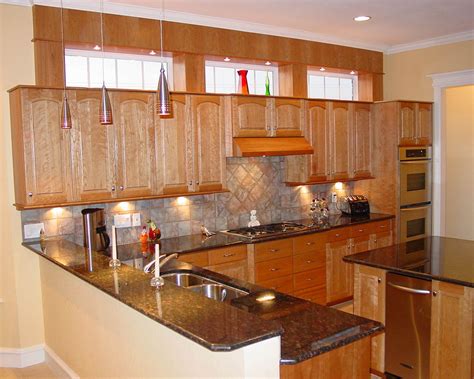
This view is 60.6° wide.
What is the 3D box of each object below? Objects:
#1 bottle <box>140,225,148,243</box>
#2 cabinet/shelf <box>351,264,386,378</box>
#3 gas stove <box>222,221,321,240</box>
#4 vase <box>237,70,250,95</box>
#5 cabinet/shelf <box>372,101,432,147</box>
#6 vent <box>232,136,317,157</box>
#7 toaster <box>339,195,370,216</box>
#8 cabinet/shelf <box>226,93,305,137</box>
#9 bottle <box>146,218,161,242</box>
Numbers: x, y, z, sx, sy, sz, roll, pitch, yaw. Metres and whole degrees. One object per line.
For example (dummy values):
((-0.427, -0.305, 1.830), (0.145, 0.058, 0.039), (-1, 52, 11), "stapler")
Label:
((-1.031, 0.495, 4.480), (0.083, 0.145, 0.139), (5, 2, -13), "bottle")
((1.148, 1.118, 3.532), (0.103, 0.935, 0.328), (4, 2, -41), "cabinet/shelf")
((0.446, 0.498, 5.080), (1.211, 0.183, 0.703), (4, 2, -36), "gas stove")
((0.075, -1.363, 5.093), (0.147, 0.278, 0.278), (5, 1, -1), "vase")
((2.540, -0.984, 6.208), (0.947, 0.664, 0.490), (-6, 7, -37), "cabinet/shelf")
((0.460, -0.536, 4.925), (1.120, 0.257, 0.219), (4, 2, -33), "vent")
((1.798, 0.241, 6.072), (0.455, 0.311, 0.337), (5, 1, 1), "toaster")
((0.359, -0.881, 5.088), (1.101, 0.496, 0.281), (-5, 6, -31), "cabinet/shelf")
((-0.927, 0.447, 4.496), (0.158, 0.191, 0.295), (5, 1, -9), "bottle")
